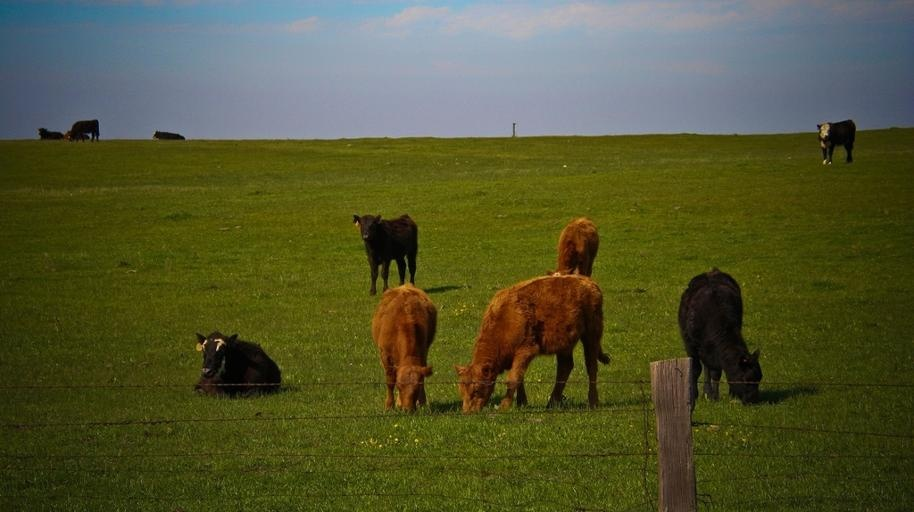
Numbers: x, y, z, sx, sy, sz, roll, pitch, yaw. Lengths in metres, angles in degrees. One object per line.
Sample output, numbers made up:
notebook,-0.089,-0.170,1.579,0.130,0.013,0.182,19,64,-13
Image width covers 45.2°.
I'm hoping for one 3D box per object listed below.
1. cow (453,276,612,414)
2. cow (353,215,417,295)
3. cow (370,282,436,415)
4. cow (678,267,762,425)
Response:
cow,3.008,3.706,42.550,7.744,5.125,2.413,-5,3,-37
cow,-3.497,0.024,53.438,1.753,3.749,5.933,1,2,18
cow,-2.063,3.684,43.712,2.734,4.451,8.022,0,16,-4
cow,10.266,3.167,43.231,2.792,3.997,7.485,1,5,14
